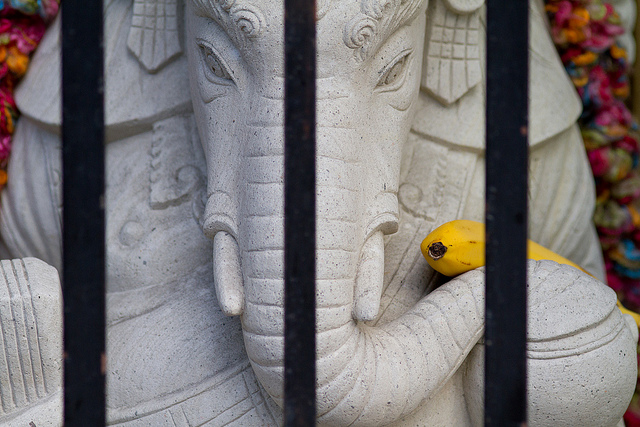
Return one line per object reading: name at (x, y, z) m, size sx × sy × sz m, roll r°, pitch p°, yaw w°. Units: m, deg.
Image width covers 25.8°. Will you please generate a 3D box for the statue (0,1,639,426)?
statue at (-0.069, 0.014, 3.027) m, size 0.721 × 0.744 × 0.410 m, roll 2°, pitch 24°, yaw -6°
